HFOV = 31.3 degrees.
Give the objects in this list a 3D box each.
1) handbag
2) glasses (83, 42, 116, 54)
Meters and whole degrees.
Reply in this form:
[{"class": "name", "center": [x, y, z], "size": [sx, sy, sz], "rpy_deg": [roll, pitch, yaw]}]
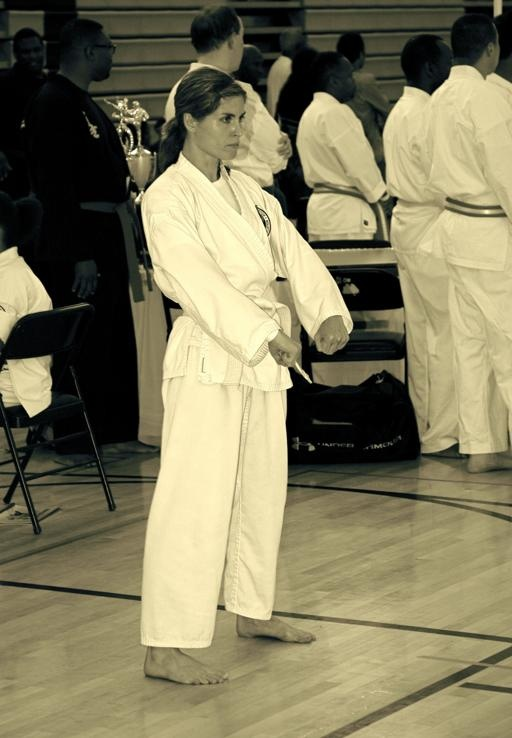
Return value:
[{"class": "handbag", "center": [0.438, 0.227, 4.178], "size": [0.442, 0.258, 0.432], "rpy_deg": [-1, -4, -1]}, {"class": "glasses", "center": [-0.693, -1.449, 4.095], "size": [0.099, 0.025, 0.092], "rpy_deg": [0, 10, 7]}]
